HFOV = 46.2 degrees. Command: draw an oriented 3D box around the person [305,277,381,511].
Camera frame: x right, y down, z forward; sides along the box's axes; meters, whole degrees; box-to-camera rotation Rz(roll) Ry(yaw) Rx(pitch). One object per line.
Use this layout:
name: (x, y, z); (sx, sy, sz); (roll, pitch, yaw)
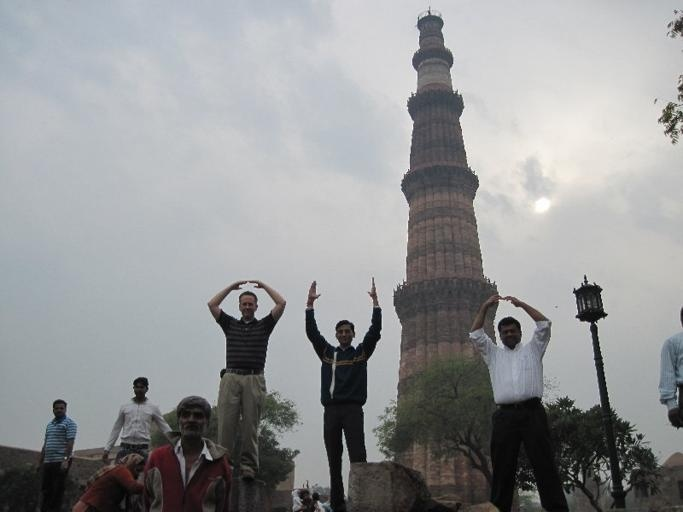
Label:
person: (0.011, 2.217, 13.251); (1.249, 3.736, 0.903); (0, -22, 3)
